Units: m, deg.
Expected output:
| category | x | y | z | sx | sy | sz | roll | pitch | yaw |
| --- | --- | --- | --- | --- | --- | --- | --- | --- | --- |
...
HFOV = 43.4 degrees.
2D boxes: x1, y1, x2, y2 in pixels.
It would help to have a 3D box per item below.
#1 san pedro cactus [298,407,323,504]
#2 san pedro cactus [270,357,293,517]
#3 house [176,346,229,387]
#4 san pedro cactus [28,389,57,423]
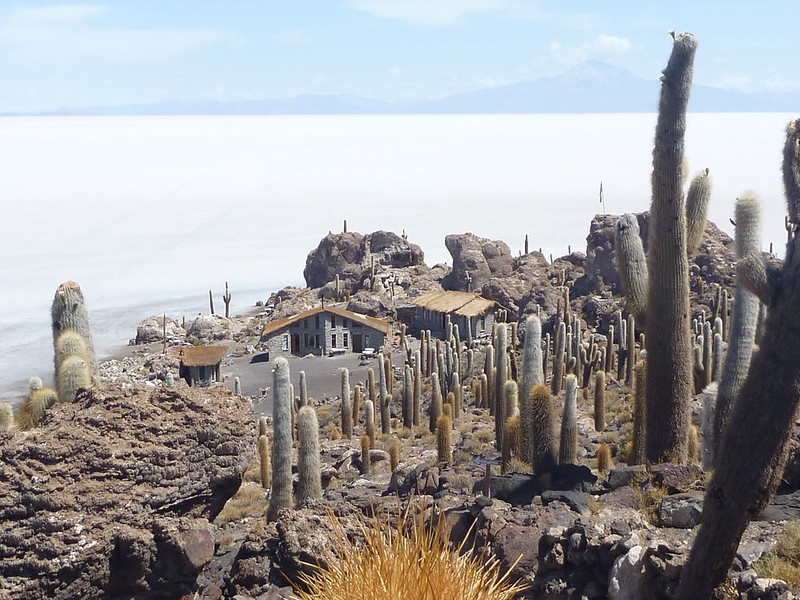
| category | x | y | z | sx | sy | sz | roll | pitch | yaw |
| --- | --- | --- | --- | --- | --- | --- | --- | --- | --- |
| san pedro cactus | -1.692 | 2.871 | 18.759 | 0.459 | 1.736 | 0.988 | -1 | 0 | -6 |
| san pedro cactus | -2.155 | 2.551 | 18.888 | 0.593 | 2.980 | 0.544 | 0 | 7 | -8 |
| house | -8.551 | 2.835 | 44.044 | 2.212 | 1.701 | 1.638 | -4 | -1 | -29 |
| san pedro cactus | -6.249 | 1.846 | 17.605 | 0.382 | 0.649 | 0.712 | -1 | 0 | -27 |
